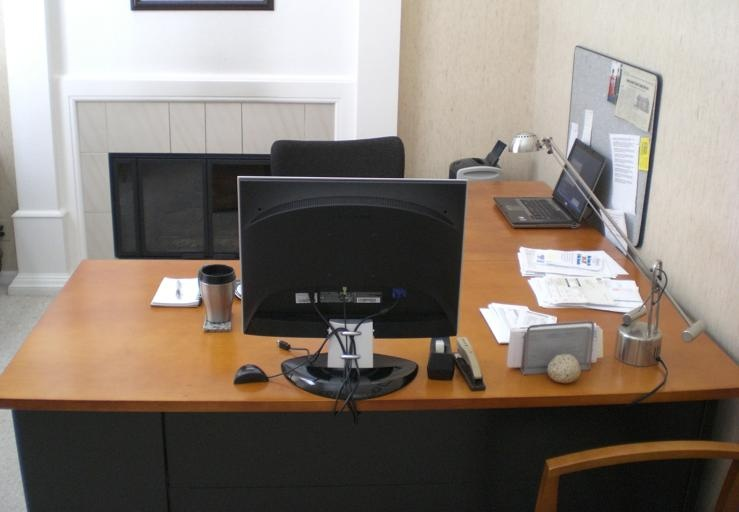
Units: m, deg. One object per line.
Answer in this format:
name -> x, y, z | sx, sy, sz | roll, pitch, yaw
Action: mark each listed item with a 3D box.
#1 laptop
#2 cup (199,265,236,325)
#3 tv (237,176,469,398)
laptop -> 0.976, -0.379, 3.225 | 0.432, 0.430, 0.725 | -3, 23, -8
cup -> -0.555, 0.143, 2.220 | 0.152, 0.224, 0.152 | 4, 20, -2
tv -> -0.065, 0.087, 1.946 | 0.732, 0.690, 0.311 | 0, 18, 10
